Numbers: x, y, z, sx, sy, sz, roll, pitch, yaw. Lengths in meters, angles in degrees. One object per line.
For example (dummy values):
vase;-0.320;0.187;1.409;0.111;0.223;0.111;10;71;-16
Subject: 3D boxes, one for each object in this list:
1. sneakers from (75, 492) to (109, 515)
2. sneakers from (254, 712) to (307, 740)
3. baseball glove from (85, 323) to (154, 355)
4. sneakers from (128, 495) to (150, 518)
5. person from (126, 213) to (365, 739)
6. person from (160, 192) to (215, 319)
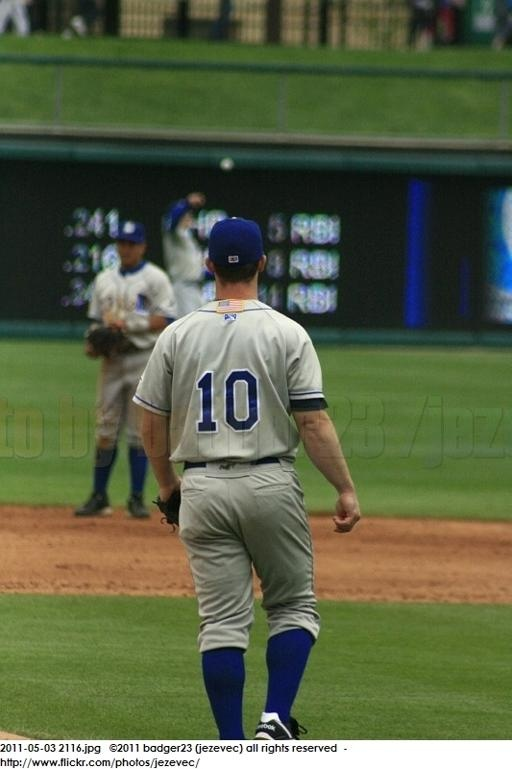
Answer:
sneakers;-0.734;0.544;8.348;0.063;0.094;0.191;4;-2;38
sneakers;0.093;1.125;5.965;0.071;0.096;0.197;1;-1;37
baseball glove;-0.626;-0.223;8.401;0.152;0.115;0.217;-5;1;14
sneakers;-0.541;0.571;8.496;0.111;0.132;0.061;1;6;1
person;-0.044;0.294;6.057;0.708;1.701;0.448;4;5;28
person;-0.335;-0.660;8.976;0.195;0.789;0.294;-6;40;0
